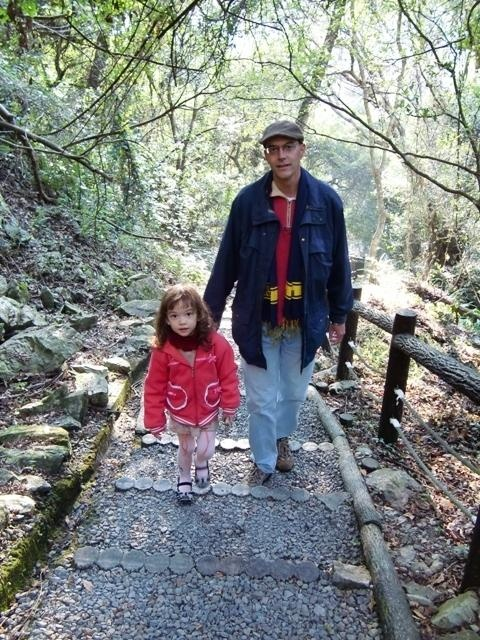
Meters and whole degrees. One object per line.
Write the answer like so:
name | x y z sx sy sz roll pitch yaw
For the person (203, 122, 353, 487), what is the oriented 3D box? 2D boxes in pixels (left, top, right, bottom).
person | 0.208 0.028 2.216 0.781 1.909 0.353 0 14 -6

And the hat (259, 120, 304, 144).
hat | 0.188 -0.841 1.916 0.189 0.111 0.159 2 14 2

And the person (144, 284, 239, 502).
person | -0.267 0.392 2.217 0.522 1.163 0.350 -4 21 -14

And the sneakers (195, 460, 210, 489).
sneakers | -0.220 0.867 2.392 0.058 0.169 0.048 1 20 1
